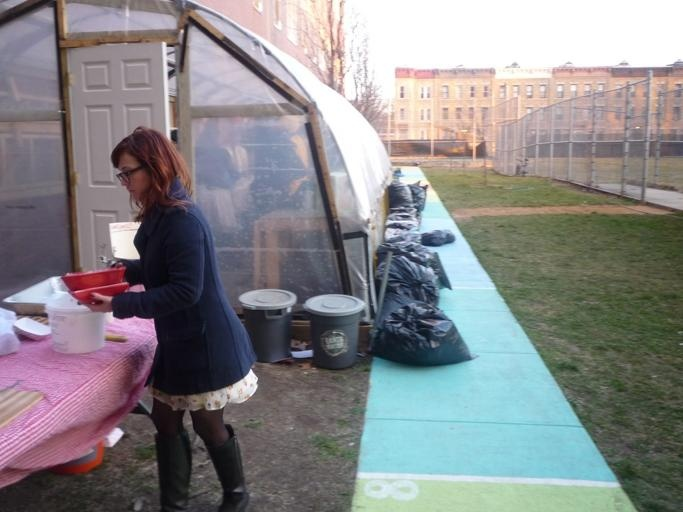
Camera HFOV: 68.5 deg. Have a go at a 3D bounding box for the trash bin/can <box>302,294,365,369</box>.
[{"bbox_3d":[-0.069,0.783,5.125,0.605,0.652,0.464,-1,14,0],"label":"trash bin/can"}]

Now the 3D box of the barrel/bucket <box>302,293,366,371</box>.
[{"bbox_3d":[-0.062,0.760,5.255,0.931,0.519,0.753,0,11,-4],"label":"barrel/bucket"}]
